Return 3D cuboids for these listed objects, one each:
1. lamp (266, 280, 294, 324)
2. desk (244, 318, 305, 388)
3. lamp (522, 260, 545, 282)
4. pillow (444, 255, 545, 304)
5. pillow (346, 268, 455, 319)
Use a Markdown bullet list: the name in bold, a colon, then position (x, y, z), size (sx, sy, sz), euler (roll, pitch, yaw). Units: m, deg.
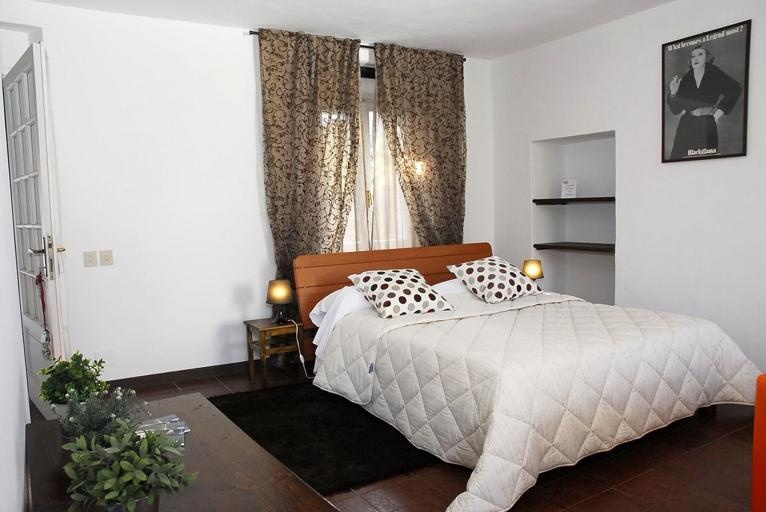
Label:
- **lamp**: position (-1.011, 0.444, 5.006), size (0.231, 0.421, 0.338), euler (-4, 5, 0)
- **desk**: position (-1.122, 0.928, 5.073), size (0.535, 0.768, 0.625), euler (-1, 1, -35)
- **lamp**: position (1.682, 0.165, 5.591), size (0.206, 0.245, 0.200), euler (-12, 13, -42)
- **pillow**: position (1.148, 0.242, 4.801), size (0.487, 0.164, 0.523), euler (-4, 28, -31)
- **pillow**: position (0.205, 0.327, 4.435), size (0.511, 0.164, 0.523), euler (-1, 26, -35)
